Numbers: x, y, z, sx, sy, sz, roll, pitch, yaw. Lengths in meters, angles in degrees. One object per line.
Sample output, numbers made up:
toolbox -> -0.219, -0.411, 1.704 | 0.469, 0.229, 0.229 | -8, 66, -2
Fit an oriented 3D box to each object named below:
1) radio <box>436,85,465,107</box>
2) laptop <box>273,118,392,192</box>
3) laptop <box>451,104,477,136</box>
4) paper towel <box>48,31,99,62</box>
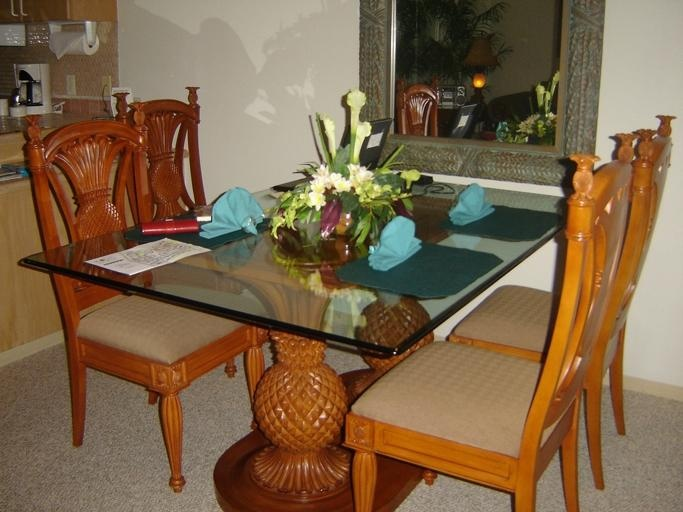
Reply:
radio -> 0.530, -0.780, 2.654 | 0.145, 0.112, 0.096 | 11, 22, 28
laptop -> -0.037, -0.504, 2.344 | 0.389, 0.330, 0.451 | 14, 27, 24
laptop -> 0.603, -0.669, 2.643 | 0.097, 0.178, 0.023 | 30, 23, 32
paper towel -> -1.804, -1.410, 3.624 | 0.357, 0.162, 0.143 | 13, 21, 26
